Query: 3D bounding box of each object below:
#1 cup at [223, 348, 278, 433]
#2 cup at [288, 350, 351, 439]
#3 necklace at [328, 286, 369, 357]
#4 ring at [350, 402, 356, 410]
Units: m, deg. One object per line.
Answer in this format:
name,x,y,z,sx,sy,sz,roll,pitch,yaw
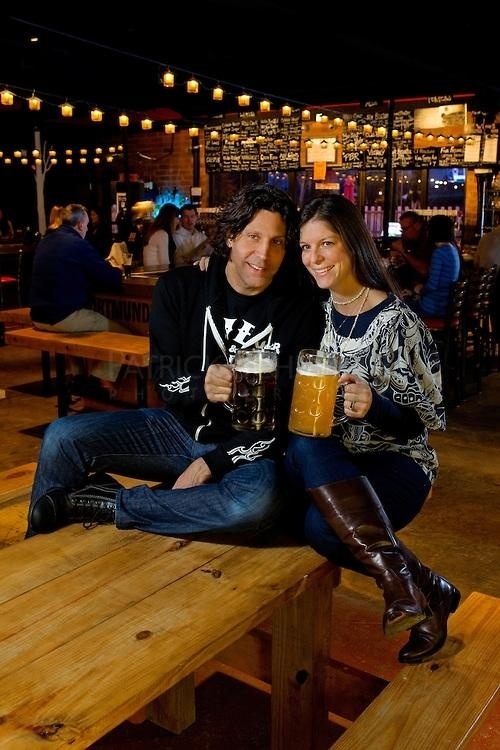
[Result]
cup,0.010,0.047,1.411,0.112,0.223,0.191,4,6,-2
cup,0.154,0.050,1.331,0.112,0.213,0.191,4,6,4
necklace,0.287,-0.154,1.633,0.032,0.198,0.113,13,-8,-42
ring,0.250,0.076,1.368,0.005,0.018,0.018,7,22,-9
